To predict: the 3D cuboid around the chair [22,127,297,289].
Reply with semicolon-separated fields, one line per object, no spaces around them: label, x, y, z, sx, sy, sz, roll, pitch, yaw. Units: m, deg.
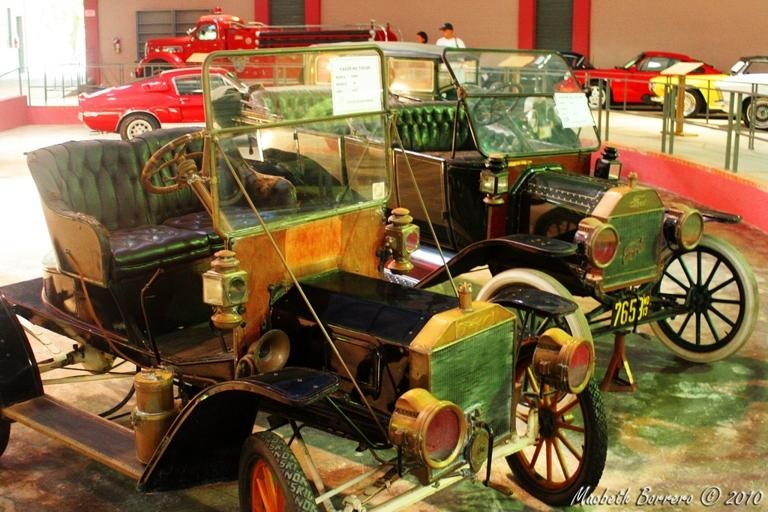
chair;-1.283;-0.265;3.339;0.571;0.510;1.058;14;23;33
